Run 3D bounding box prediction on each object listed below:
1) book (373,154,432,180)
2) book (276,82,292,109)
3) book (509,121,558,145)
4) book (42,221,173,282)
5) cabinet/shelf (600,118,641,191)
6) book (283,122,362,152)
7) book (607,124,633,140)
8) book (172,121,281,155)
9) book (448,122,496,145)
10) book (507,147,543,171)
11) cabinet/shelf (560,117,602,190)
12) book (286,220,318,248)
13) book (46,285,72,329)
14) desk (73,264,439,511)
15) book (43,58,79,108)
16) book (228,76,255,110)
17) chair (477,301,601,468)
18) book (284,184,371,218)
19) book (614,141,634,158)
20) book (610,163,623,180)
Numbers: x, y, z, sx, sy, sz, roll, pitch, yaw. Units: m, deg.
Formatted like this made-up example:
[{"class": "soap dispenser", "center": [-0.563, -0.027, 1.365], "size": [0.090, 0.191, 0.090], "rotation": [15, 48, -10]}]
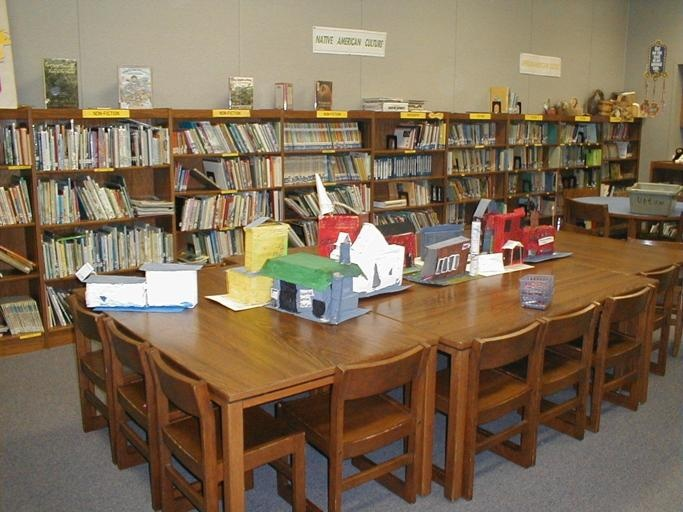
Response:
[{"class": "book", "center": [0.710, -1.046, 6.481], "size": [0.902, 0.276, 0.122], "rotation": [-15, 20, -38]}, {"class": "book", "center": [-0.588, -1.629, 5.635], "size": [0.166, 0.261, 0.313], "rotation": [-5, 16, -7]}, {"class": "book", "center": [2.622, -1.685, 7.597], "size": [0.994, 0.332, 0.274], "rotation": [-16, 21, -40]}, {"class": "book", "center": [-2.022, -0.051, 4.809], "size": [1.267, 0.461, 0.484], "rotation": [-6, 9, -37]}, {"class": "cabinet/shelf", "center": [4.653, -1.725, 9.046], "size": [0.552, 0.843, 0.223], "rotation": [-5, 14, 45]}, {"class": "book", "center": [-0.196, -1.268, 5.861], "size": [0.939, 0.313, 0.125], "rotation": [-13, 20, -33]}, {"class": "book", "center": [4.420, -1.988, 8.827], "size": [0.318, 0.283, 0.172], "rotation": [-8, 13, -29]}, {"class": "book", "center": [-1.069, -1.133, 5.305], "size": [1.011, 0.327, 0.350], "rotation": [-6, 16, -12]}, {"class": "book", "center": [1.671, -1.549, 7.021], "size": [0.231, 0.301, 0.983], "rotation": [12, 21, 41]}, {"class": "book", "center": [2.548, -1.353, 7.651], "size": [0.238, 0.321, 0.787], "rotation": [12, 21, 42]}, {"class": "cabinet/shelf", "center": [3.647, -1.538, 8.615], "size": [0.352, 1.001, 1.112], "rotation": [-5, 4, 45]}, {"class": "book", "center": [-0.392, -0.237, 5.733], "size": [0.334, 0.306, 0.077], "rotation": [-9, 6, -27]}, {"class": "book", "center": [-2.371, 0.443, 4.634], "size": [0.112, 0.338, 0.258], "rotation": [-11, 8, 2]}, {"class": "desk", "center": [-0.380, 0.219, 2.647], "size": [1.441, 0.719, 1.062], "rotation": [-11, 23, -41]}, {"class": "book", "center": [-2.320, -1.428, 4.583], "size": [0.264, 0.388, 0.167], "rotation": [-8, 18, -16]}, {"class": "book", "center": [-0.989, -1.607, 5.454], "size": [0.248, 0.304, 0.242], "rotation": [-6, 17, -10]}, {"class": "chair", "center": [1.092, 0.714, 3.074], "size": [0.766, 0.797, 0.558], "rotation": [-13, 20, -37]}, {"class": "book", "center": [-0.183, -0.540, 5.393], "size": [0.587, 0.184, 0.291], "rotation": [-5, 13, -29]}, {"class": "book", "center": [4.543, -1.724, 8.943], "size": [0.291, 0.261, 0.098], "rotation": [-16, 18, -34]}, {"class": "book", "center": [4.451, -1.374, 8.979], "size": [0.300, 0.328, 0.048], "rotation": [-10, 12, -26]}]
